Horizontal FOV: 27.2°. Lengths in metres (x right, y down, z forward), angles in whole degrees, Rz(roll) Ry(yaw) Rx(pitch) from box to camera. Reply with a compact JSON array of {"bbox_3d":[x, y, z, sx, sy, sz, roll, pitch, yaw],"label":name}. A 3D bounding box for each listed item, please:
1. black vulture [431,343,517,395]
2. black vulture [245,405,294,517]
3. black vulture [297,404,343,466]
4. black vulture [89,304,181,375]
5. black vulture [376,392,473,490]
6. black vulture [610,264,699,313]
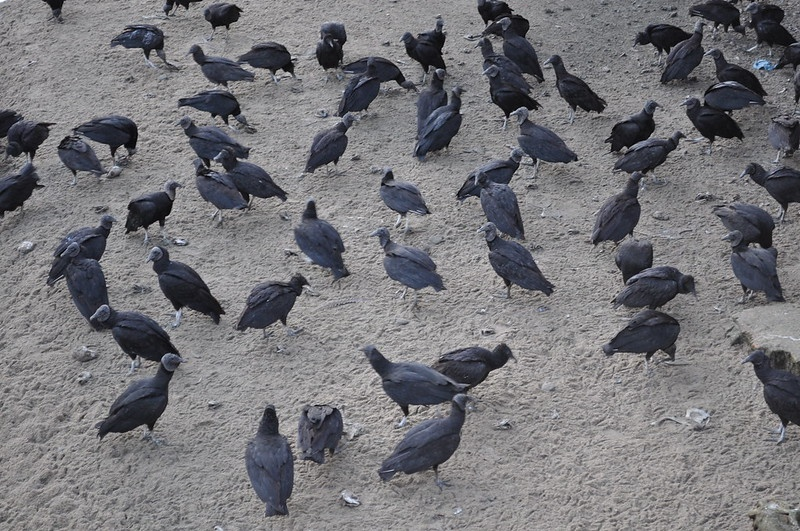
[{"bbox_3d":[0.972,1.419,24.456,1.506,0.604,0.667,-2,23,7],"label":"black vulture"},{"bbox_3d":[-1.833,2.782,23.671,0.681,0.923,1.545,-5,66,-6],"label":"black vulture"},{"bbox_3d":[-1.210,2.356,23.785,0.696,0.464,0.913,7,60,18],"label":"black vulture"},{"bbox_3d":[-3.945,1.035,24.963,1.326,0.657,0.907,-1,101,9],"label":"black vulture"},{"bbox_3d":[0.363,2.463,23.721,1.613,1.173,0.716,-14,25,-15],"label":"black vulture"},{"bbox_3d":[3.796,0.339,25.031,1.319,0.593,0.654,2,97,-9],"label":"black vulture"}]
